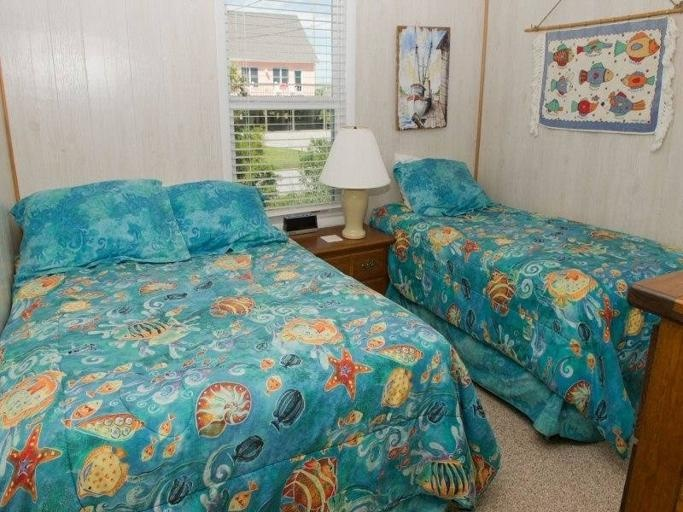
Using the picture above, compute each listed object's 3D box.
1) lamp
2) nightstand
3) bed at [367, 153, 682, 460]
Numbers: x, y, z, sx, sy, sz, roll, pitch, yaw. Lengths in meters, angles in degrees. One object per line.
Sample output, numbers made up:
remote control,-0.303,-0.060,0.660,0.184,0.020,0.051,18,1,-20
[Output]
lamp,0.087,-0.495,3.182,0.508,0.773,0.504,-10,21,-27
nightstand,0.002,-0.024,3.143,0.626,0.620,0.430,-13,22,-36
bed,0.986,0.124,2.604,0.989,0.820,1.606,-11,20,-26
